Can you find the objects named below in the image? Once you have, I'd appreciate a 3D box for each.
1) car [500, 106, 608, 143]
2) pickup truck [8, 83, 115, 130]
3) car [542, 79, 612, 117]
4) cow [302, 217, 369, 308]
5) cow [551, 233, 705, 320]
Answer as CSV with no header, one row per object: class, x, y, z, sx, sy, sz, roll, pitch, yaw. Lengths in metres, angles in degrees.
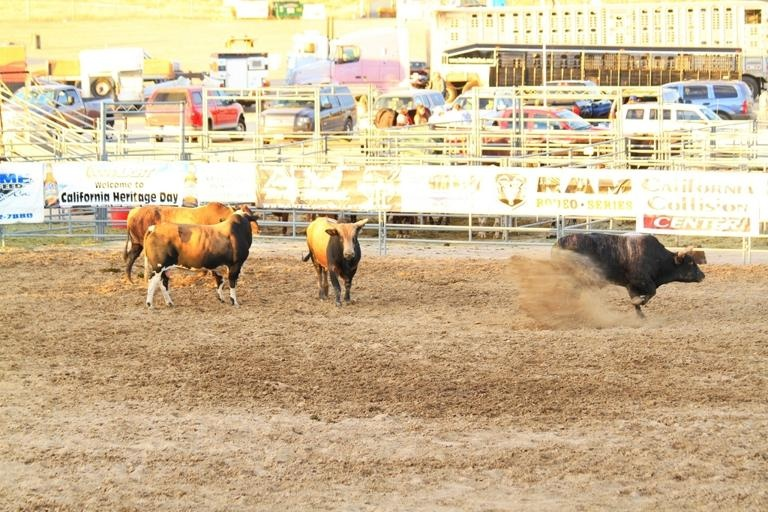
car,4.978,-3.917,39.684,3.157,1.049,5.173,1,8,5
pickup truck,-11.606,-5.095,46.323,1.929,1.618,10.160,0,7,0
car,7.530,-5.751,50.739,1.819,1.650,3.832,4,12,28
cow,-1.062,0.085,28.600,0.742,1.805,1.466,-3,8,-27
cow,5.111,0.382,27.458,2.974,1.707,0.574,-1,7,-9
